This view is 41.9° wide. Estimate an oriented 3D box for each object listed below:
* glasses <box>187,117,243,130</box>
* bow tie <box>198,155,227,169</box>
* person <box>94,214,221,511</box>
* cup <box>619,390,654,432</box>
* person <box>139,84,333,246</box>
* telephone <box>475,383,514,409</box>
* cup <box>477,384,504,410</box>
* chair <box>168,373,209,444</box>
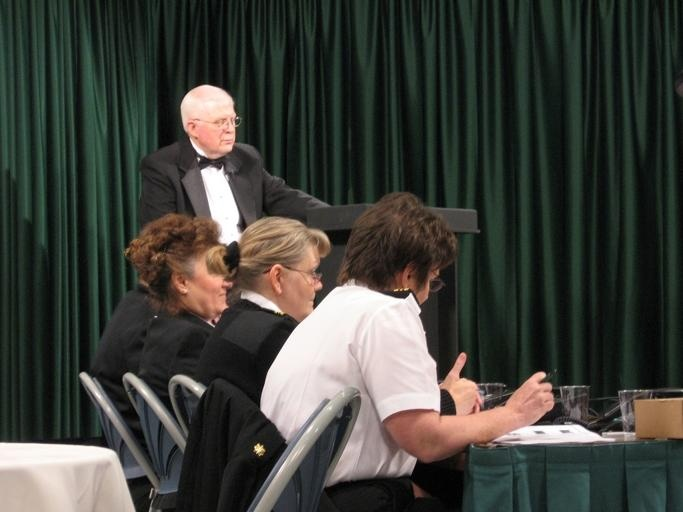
[{"bbox_3d":[-0.696,-0.715,4.812,0.128,0.043,0.129,-2,0,33],"label":"glasses"},{"bbox_3d":[-0.700,-0.502,4.822,0.082,0.048,0.089,-1,1,10],"label":"bow tie"},{"bbox_3d":[-0.688,0.360,3.844,0.552,1.103,1.009,-4,7,-20],"label":"person"},{"bbox_3d":[1.030,0.555,3.193,0.128,0.172,0.138,1,-12,0],"label":"cup"},{"bbox_3d":[-0.586,-0.349,4.804,0.856,1.153,0.744,-4,3,-12],"label":"person"},{"bbox_3d":[0.603,0.552,3.558,0.115,0.094,0.111,4,-9,-12],"label":"telephone"},{"bbox_3d":[0.596,0.556,3.561,0.088,0.086,0.107,-1,-11,10],"label":"cup"},{"bbox_3d":[-0.552,0.547,3.217,0.164,0.219,0.236,0,-7,2],"label":"chair"}]
